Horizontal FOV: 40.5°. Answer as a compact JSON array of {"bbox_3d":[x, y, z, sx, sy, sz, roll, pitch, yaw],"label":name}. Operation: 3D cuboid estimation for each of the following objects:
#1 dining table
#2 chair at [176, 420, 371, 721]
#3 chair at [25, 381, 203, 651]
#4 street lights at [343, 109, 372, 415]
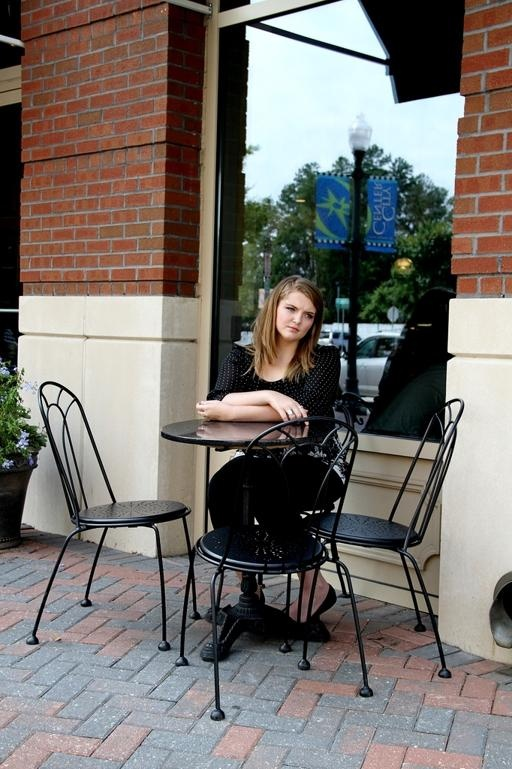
[{"bbox_3d":[-0.086,0.468,2.319,0.636,0.689,0.609,0,3,6],"label":"dining table"},{"bbox_3d":[0.028,0.545,2.287,0.606,0.876,0.585,1,2,-38],"label":"chair"},{"bbox_3d":[-0.553,0.482,2.743,0.616,0.968,0.625,-2,-3,18],"label":"chair"},{"bbox_3d":[0.489,-0.646,3.379,0.147,1.484,0.147,4,-21,4],"label":"street lights"}]
